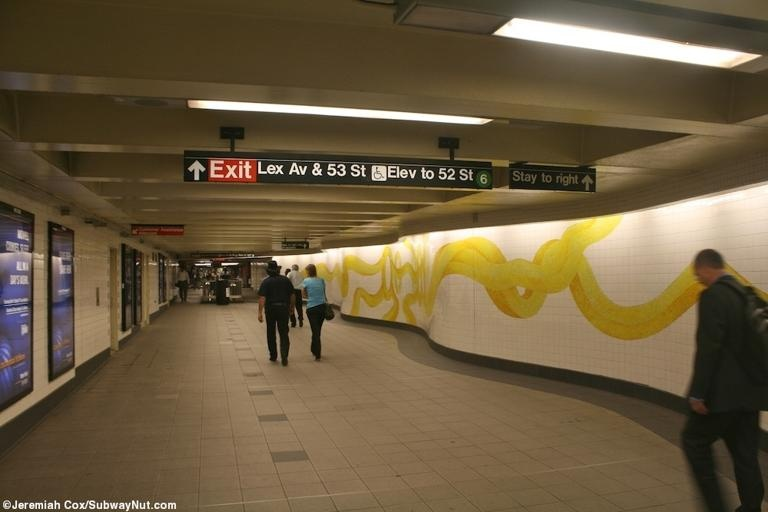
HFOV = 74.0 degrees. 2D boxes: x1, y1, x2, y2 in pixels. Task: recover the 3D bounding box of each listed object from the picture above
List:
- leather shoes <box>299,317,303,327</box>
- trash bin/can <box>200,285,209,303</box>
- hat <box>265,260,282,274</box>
[{"bbox_3d":[-2.843,2.227,17.058,0.107,0.293,0.215,-1,1,1],"label":"leather shoes"},{"bbox_3d":[-11.627,2.411,32.876,0.455,1.039,1.391,-1,1,-18],"label":"trash bin/can"},{"bbox_3d":[-2.255,0.239,10.380,0.314,0.265,0.347,6,11,39],"label":"hat"}]
